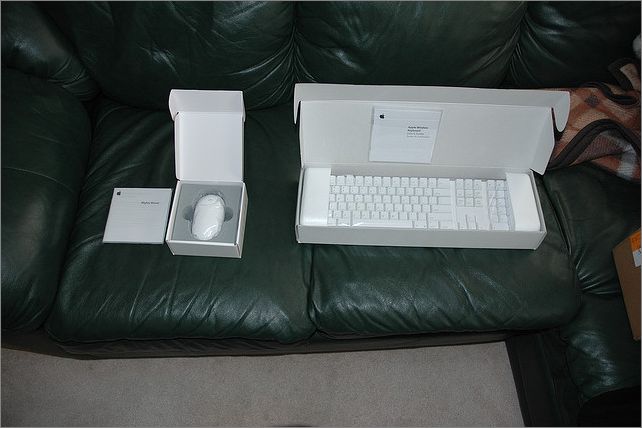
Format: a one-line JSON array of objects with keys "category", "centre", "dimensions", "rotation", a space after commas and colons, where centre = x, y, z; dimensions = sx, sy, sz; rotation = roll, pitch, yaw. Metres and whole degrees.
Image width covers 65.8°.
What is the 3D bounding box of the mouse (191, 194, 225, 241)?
[{"category": "mouse", "centre": [-0.420, 0.014, 1.839], "dimensions": [0.114, 0.058, 0.170], "rotation": [10, 62, 5]}]
